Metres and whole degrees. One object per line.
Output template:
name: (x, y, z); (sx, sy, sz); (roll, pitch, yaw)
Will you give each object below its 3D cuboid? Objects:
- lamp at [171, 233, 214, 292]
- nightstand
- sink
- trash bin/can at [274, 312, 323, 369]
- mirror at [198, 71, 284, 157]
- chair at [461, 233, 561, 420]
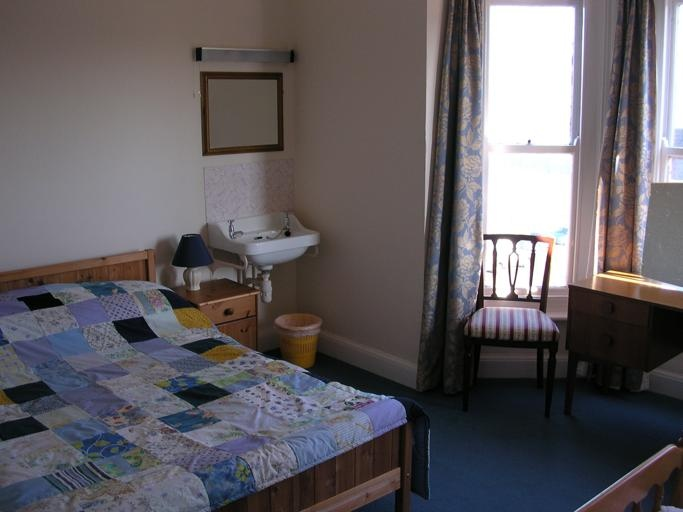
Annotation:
lamp: (-1.074, 0.046, 3.962); (0.283, 0.397, 0.283); (-2, 8, -9)
nightstand: (-0.858, 0.523, 4.149); (0.541, 0.606, 0.541); (12, 21, 35)
sink: (-0.593, -0.107, 4.373); (0.805, 0.362, 0.556); (-10, 15, -40)
trash bin/can: (-0.325, 0.630, 4.398); (0.394, 0.356, 0.407); (0, 11, 3)
mirror: (-0.807, -1.105, 4.266); (0.673, 0.577, 0.044); (-12, 20, -40)
chair: (1.206, 0.440, 3.930); (0.614, 1.141, 0.898); (3, 14, 20)
